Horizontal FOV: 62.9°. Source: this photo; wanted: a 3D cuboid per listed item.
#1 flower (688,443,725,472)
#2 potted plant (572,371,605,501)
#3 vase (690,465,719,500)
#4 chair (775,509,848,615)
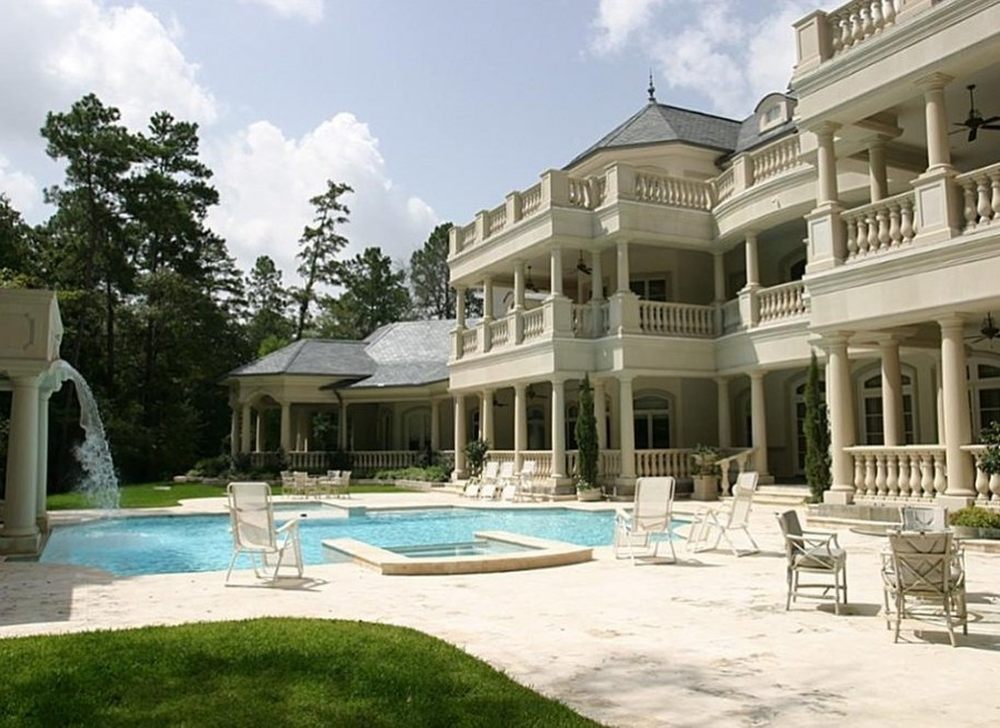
[{"bbox_3d":[6.348,2.892,25.071,0.916,1.049,0.849,4,-6,-42],"label":"flower"},{"bbox_3d":[2.784,2.312,25.916,0.755,3.887,2.094,0,-10,6],"label":"potted plant"},{"bbox_3d":[6.195,3.628,24.622,0.913,1.213,0.893,1,-3,-8],"label":"vase"},{"bbox_3d":[4.194,2.625,10.858,1.039,1.185,0.967,1,-5,-8],"label":"chair"}]
